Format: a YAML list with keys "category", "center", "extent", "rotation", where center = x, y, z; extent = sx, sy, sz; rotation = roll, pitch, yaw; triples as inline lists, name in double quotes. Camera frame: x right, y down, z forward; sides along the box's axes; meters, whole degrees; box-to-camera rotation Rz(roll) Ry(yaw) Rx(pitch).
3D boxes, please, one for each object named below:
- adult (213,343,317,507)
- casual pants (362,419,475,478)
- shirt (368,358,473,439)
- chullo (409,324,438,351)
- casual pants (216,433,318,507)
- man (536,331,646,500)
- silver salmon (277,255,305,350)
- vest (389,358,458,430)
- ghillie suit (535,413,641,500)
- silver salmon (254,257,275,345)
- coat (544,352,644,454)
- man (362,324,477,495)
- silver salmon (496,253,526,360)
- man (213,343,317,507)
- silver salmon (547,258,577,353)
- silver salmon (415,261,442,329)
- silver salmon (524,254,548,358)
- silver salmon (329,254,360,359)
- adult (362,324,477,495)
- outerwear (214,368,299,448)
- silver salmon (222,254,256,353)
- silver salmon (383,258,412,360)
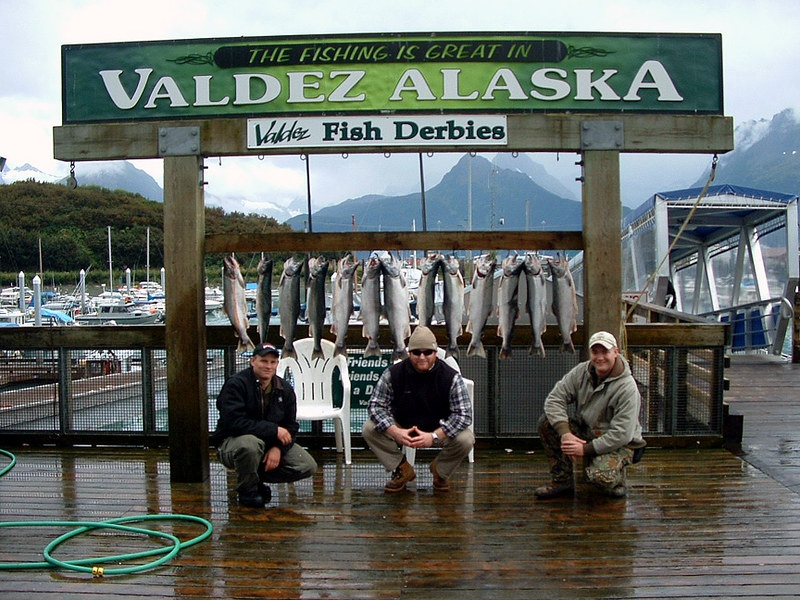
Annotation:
- category: "adult"
  center: [-1.200, 1.104, 9.685]
  extent: [0.839, 1.410, 0.828]
  rotation: [4, -2, -19]
- category: "casual pants"
  center: [0.169, 1.385, 9.720]
  extent: [0.706, 0.345, 0.636]
  rotation: [1, -5, 5]
- category: "shirt"
  center: [0.222, 0.883, 9.857]
  extent: [0.974, 0.772, 0.575]
  rotation: [2, 11, 20]
- category: "chullo"
  center: [0.218, 0.345, 9.635]
  extent: [0.201, 0.191, 0.221]
  rotation: [4, -8, 0]
- category: "casual pants"
  center: [-1.202, 1.489, 9.741]
  extent: [0.908, 0.461, 0.856]
  rotation: [15, 3, 14]
- category: "man"
  center: [1.739, 1.059, 9.614]
  extent: [1.088, 1.444, 0.912]
  rotation: [1, 9, -7]
- category: "silver salmon"
  center: [-1.020, 0.065, 10.106]
  extent: [0.226, 0.936, 0.297]
  rotation: [-1, -4, -6]
- category: "vest"
  center: [0.229, 0.872, 9.735]
  extent: [0.629, 0.647, 0.348]
  rotation: [2, 1, 3]
- category: "ghillie suit"
  center: [1.648, 1.273, 9.638]
  extent: [0.824, 1.061, 0.814]
  rotation: [-4, 10, 5]
- category: "silver salmon"
  center: [-1.278, -0.001, 10.084]
  extent: [0.175, 0.855, 0.153]
  rotation: [0, 2, 4]
- category: "coat"
  center: [1.843, 0.923, 9.623]
  extent: [0.808, 0.828, 0.909]
  rotation: [-5, 19, -36]
- category: "man"
  center: [0.200, 0.992, 9.819]
  extent: [1.035, 1.483, 0.840]
  rotation: [1, 12, 10]
- category: "silver salmon"
  center: [1.067, 0.027, 10.228]
  extent: [0.380, 1.107, 0.189]
  rotation: [3, -1, 9]
- category: "man"
  center: [-1.233, 1.119, 9.624]
  extent: [0.917, 1.403, 0.916]
  rotation: [3, -1, 6]
- category: "silver salmon"
  center: [1.574, 0.033, 10.150]
  extent: [0.361, 1.007, 0.214]
  rotation: [-7, -5, 3]
- category: "silver salmon"
  center: [0.290, -0.077, 10.076]
  extent: [0.225, 0.663, 0.253]
  rotation: [-2, -4, 0]
- category: "silver salmon"
  center: [1.301, 0.046, 10.118]
  extent: [0.192, 0.972, 0.310]
  rotation: [-2, -4, 7]
- category: "silver salmon"
  center: [-0.504, 0.047, 10.086]
  extent: [0.265, 0.928, 0.318]
  rotation: [-2, -4, -3]
- category: "adult"
  center: [0.192, 1.021, 9.825]
  extent: [1.021, 1.424, 0.854]
  rotation: [1, 11, 5]
- category: "outerwear"
  center: [-1.269, 1.021, 9.721]
  extent: [0.764, 0.760, 0.631]
  rotation: [9, -8, -31]
- category: "silver salmon"
  center: [-1.543, 0.022, 10.177]
  extent: [0.268, 0.955, 0.468]
  rotation: [-1, -4, -10]
- category: "silver salmon"
  center: [0.003, 0.088, 10.127]
  extent: [0.356, 1.020, 0.215]
  rotation: [-5, -3, -1]
